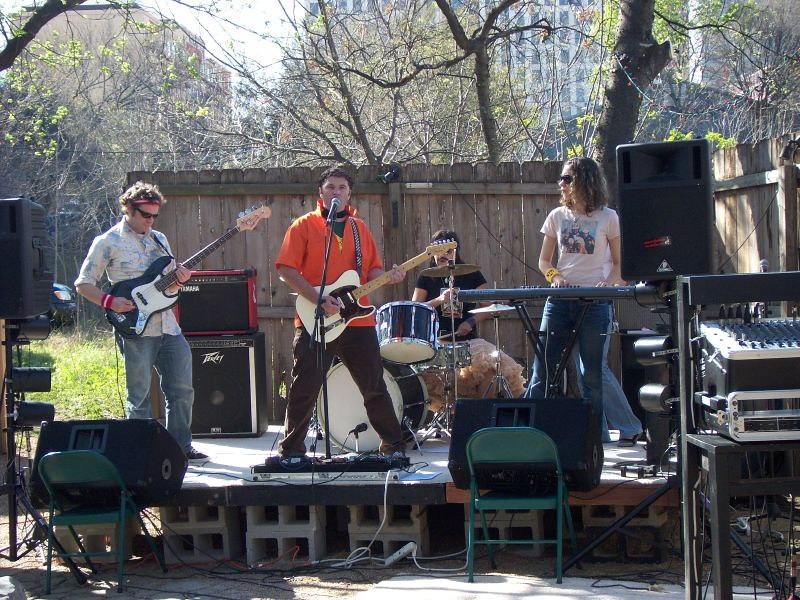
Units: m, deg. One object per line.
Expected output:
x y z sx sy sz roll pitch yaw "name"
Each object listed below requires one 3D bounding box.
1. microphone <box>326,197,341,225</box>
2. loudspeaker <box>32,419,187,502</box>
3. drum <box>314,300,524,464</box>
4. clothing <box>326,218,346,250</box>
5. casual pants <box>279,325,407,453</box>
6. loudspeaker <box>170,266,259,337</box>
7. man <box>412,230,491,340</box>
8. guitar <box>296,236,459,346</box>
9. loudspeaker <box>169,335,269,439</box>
-0.556 -0.779 10.830 0.079 0.086 0.280 6 31 0 "microphone"
-2.261 1.157 10.637 0.810 0.671 0.769 -2 15 12 "loudspeaker"
-0.075 0.896 12.040 1.441 1.607 0.700 12 7 -38 "drum"
-0.534 -0.577 11.166 0.159 0.252 0.062 3 -9 -24 "clothing"
-0.457 0.792 11.265 1.020 0.522 1.619 1 38 2 "casual pants"
-1.790 0.031 12.348 0.845 0.857 0.557 -1 0 4 "loudspeaker"
0.482 -0.082 12.673 0.767 1.183 0.659 -3 -12 -5 "man"
-0.290 -0.015 11.132 1.179 0.758 0.524 -1 -3 -29 "guitar"
-1.785 0.717 12.396 0.735 1.157 0.639 -3 24 -17 "loudspeaker"
